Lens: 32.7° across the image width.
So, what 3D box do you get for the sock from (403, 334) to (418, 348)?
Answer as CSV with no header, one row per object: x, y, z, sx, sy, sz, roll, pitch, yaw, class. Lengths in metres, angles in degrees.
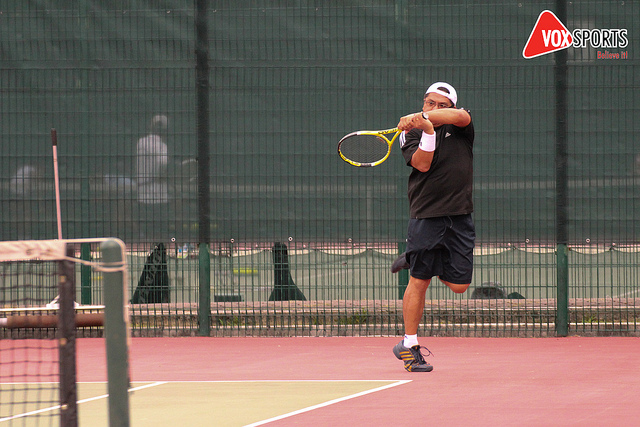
0.842,1.189,10.067,0.121,0.128,0.084,0,-3,12,sock

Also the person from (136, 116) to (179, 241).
-1.741,-0.368,11.720,0.409,1.298,0.183,-3,9,-12,person

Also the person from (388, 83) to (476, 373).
1.063,0.150,10.171,0.738,2.672,0.732,0,9,6,person

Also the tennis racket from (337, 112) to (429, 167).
0.507,-0.674,11.019,0.580,0.444,1.375,-1,10,0,tennis racket
